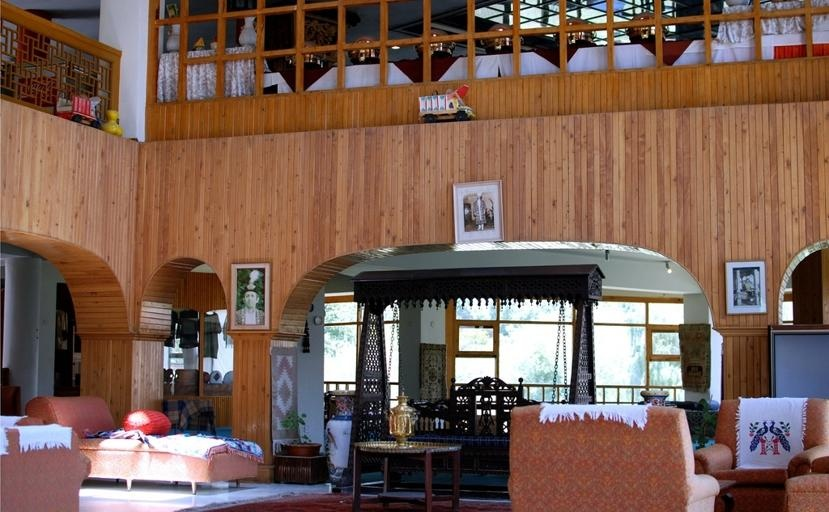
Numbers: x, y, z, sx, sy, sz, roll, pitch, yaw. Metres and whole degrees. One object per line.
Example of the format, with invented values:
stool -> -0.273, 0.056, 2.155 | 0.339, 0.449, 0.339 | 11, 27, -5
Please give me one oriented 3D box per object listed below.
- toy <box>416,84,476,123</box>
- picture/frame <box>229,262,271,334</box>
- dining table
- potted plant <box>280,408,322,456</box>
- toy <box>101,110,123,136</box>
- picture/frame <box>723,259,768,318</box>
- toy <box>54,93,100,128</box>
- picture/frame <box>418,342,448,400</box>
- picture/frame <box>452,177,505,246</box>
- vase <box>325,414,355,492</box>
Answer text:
toy -> 0.501, -2.268, 17.456 | 0.564, 0.519, 1.011 | -7, -7, 41
picture/frame -> -2.584, 0.639, 17.857 | 0.651, 0.986, 0.301 | -1, -13, 3
dining table -> 0.951, -3.165, 17.540 | 11.020, 0.819, 0.392 | -1, -4, 19
potted plant -> -1.737, 2.749, 17.948 | 0.746, 0.787, 0.773 | 2, -9, -11
toy -> -4.831, -2.121, 18.323 | 0.387, 0.577, 0.391 | 0, -5, 1
picture/frame -> 4.846, 0.461, 16.422 | 0.508, 0.831, 0.138 | 1, 2, 8
toy -> -5.377, -2.295, 17.924 | 0.548, 0.446, 0.575 | 1, -3, 38
picture/frame -> 0.386, 2.479, 24.378 | 0.104, 1.525, 1.051 | -6, -10, 32
picture/frame -> 0.958, -0.665, 17.162 | 0.701, 0.944, 0.146 | -3, -7, 27
vase -> -1.053, 3.038, 17.475 | 0.618, 1.147, 0.703 | 3, -5, -5
